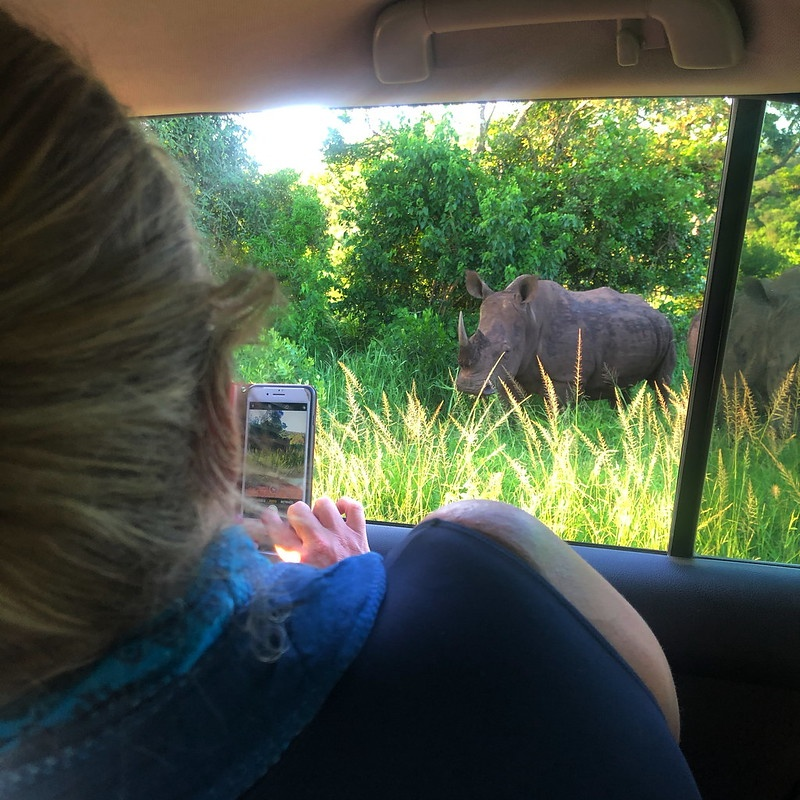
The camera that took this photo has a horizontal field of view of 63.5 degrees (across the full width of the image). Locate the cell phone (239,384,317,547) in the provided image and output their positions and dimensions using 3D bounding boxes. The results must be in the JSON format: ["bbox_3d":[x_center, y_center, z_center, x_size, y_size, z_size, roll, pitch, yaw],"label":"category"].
[{"bbox_3d":[-0.267,0.141,1.404,0.142,0.367,0.033,4,-26,-13],"label":"cell phone"}]

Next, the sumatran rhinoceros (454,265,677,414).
[{"bbox_3d":[1.358,-0.533,5.377,2.090,1.155,0.836,-7,9,-22],"label":"sumatran rhinoceros"}]
